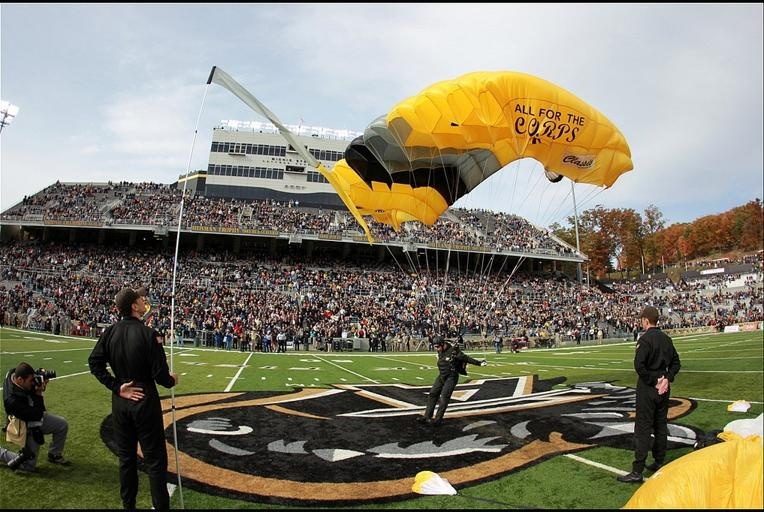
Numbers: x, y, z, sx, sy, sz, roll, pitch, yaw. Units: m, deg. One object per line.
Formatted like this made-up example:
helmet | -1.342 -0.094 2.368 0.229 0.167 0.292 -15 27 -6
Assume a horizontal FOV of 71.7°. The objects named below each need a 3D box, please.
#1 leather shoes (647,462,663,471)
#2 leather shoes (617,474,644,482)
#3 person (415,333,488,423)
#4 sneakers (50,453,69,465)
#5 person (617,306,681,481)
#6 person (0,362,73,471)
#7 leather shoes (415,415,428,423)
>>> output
leather shoes | 4.918 3.799 9.532 0.231 0.158 0.313 -2 -7 33
leather shoes | 4.316 3.853 9.205 0.421 0.156 0.160 1 -35 15
person | 1.451 2.784 11.941 1.036 1.916 0.875 3 -7 0
sneakers | -5.679 3.593 9.357 0.339 0.142 0.158 13 -1 -9
person | 4.853 2.443 9.571 1.155 3.078 0.453 5 -8 -21
person | -6.077 2.793 9.254 1.057 1.816 0.404 6 -8 -28
leather shoes | 0.918 3.690 11.951 0.332 0.144 0.112 43 -52 -19
